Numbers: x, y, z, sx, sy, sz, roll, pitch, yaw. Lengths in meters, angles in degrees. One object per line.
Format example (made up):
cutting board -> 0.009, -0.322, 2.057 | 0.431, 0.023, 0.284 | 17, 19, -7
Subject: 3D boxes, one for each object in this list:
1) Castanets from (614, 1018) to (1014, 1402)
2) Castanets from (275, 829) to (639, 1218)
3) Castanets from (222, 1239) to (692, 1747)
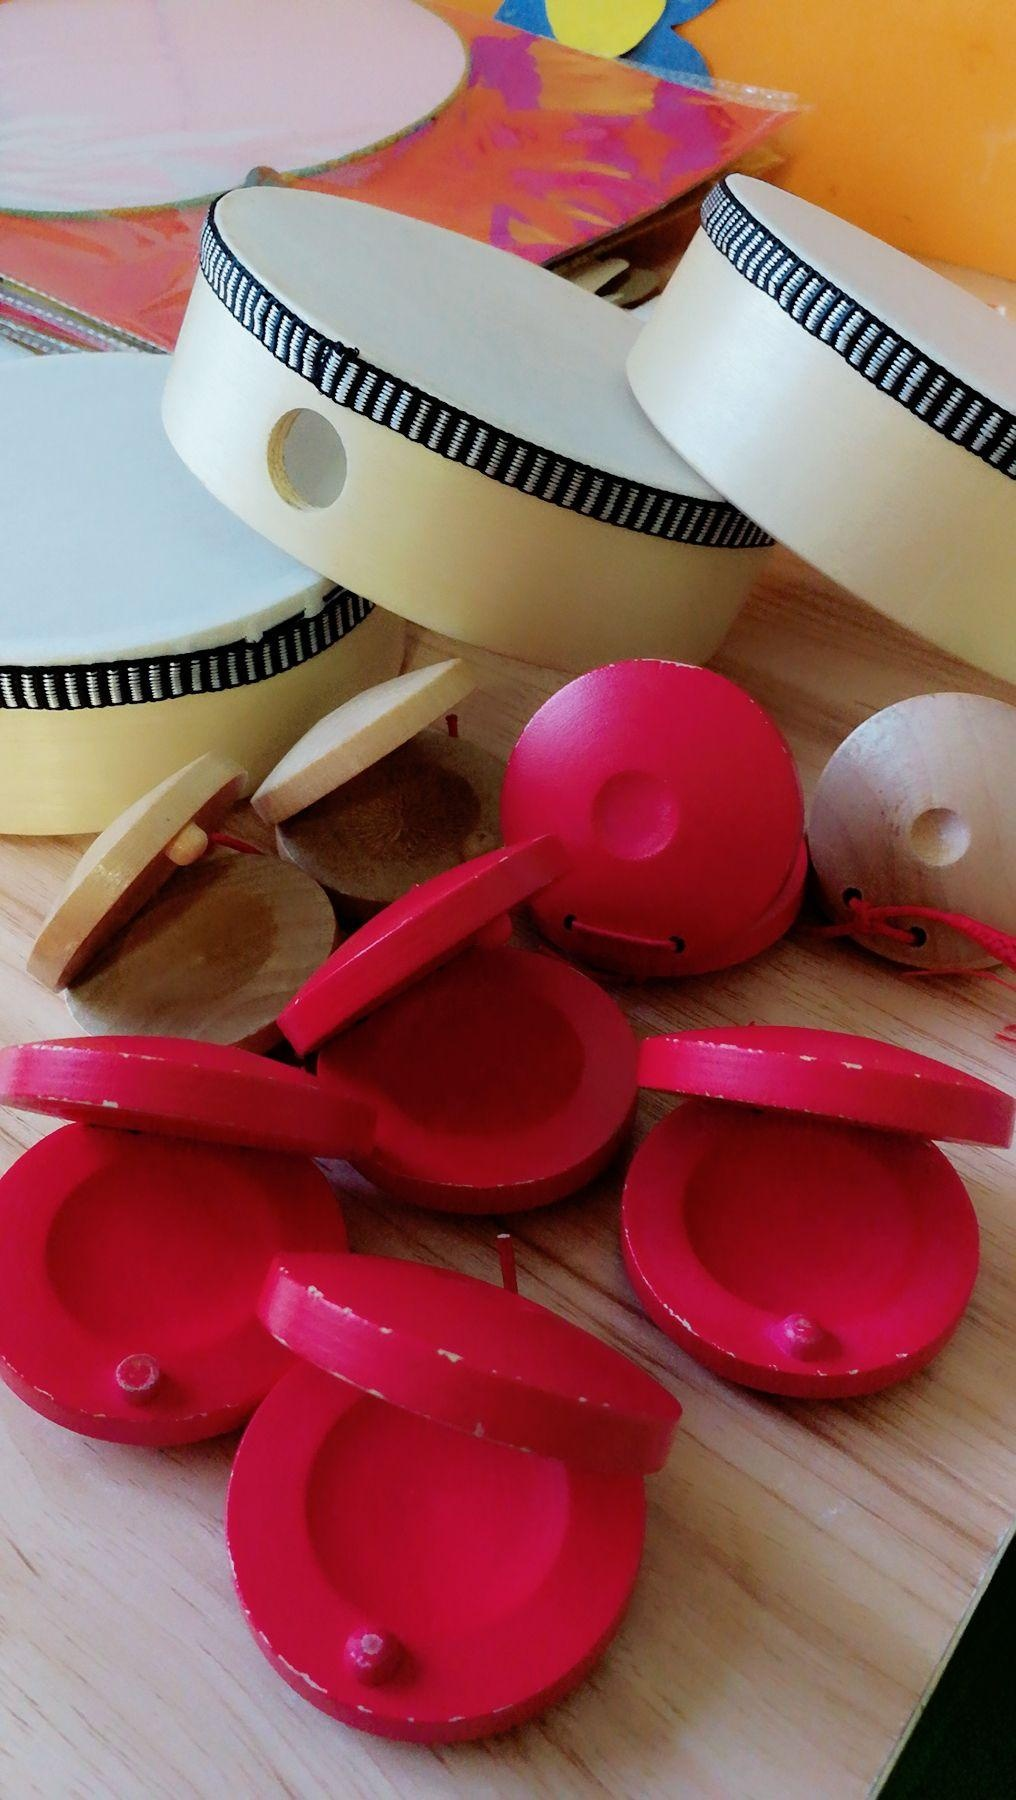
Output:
Castanets -> 0.126, 0.127, 0.645 | 0.161, 0.152, 0.129 | 14, 32, 5
Castanets -> -0.019, 0.051, 0.771 | 0.176, 0.175, 0.170 | 38, 46, 25
Castanets -> -0.025, 0.190, 0.532 | 0.157, 0.115, 0.159 | -13, 36, -24
